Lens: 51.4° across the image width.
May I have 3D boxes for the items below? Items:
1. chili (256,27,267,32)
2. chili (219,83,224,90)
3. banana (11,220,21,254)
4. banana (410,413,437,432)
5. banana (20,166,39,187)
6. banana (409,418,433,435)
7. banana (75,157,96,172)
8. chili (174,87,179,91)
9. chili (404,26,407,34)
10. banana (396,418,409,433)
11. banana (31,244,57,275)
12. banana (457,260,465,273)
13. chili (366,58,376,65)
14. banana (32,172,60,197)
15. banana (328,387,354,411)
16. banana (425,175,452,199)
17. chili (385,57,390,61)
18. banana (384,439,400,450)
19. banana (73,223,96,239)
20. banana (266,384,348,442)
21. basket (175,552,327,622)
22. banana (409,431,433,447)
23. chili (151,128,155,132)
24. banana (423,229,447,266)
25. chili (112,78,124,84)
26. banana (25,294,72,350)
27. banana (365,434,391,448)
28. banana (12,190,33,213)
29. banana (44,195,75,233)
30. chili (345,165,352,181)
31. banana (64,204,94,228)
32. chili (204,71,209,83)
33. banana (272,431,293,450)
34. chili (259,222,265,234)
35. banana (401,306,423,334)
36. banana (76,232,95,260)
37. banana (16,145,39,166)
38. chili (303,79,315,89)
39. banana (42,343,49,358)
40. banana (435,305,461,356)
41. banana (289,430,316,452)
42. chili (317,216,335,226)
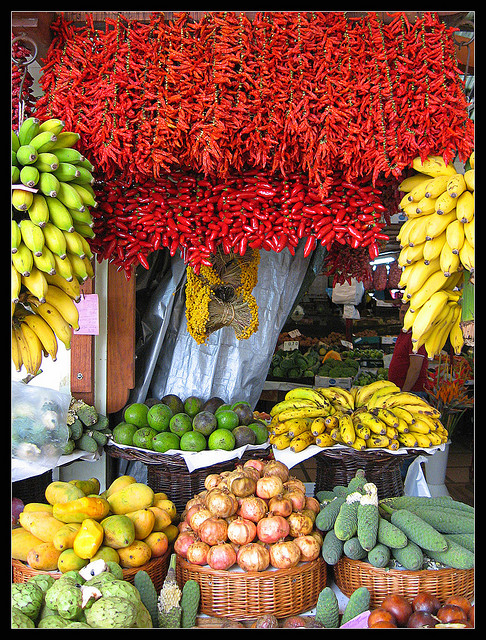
[{"bbox_3d":[0.054,-0.864,1.505,0.021,0.007,0.006,-33,-23,-16],"label":"chili"},{"bbox_3d":[-0.066,-0.680,1.474,0.011,0.014,0.010,4,3,-4],"label":"chili"},{"bbox_3d":[-0.591,-0.217,1.314,0.020,0.084,0.069,3,3,-23],"label":"banana"},{"bbox_3d":[0.777,0.439,2.169,0.046,0.040,0.144,22,1,0],"label":"banana"},{"bbox_3d":[-0.544,-0.368,1.293,0.040,0.036,0.058,23,28,-31],"label":"banana"},{"bbox_3d":[0.751,0.456,2.143,0.097,0.053,0.040,6,3,20],"label":"banana"},{"bbox_3d":[-0.467,-0.464,1.514,0.016,0.021,0.057,-29,51,-19],"label":"banana"},{"bbox_3d":[-0.199,-0.680,1.487,0.009,0.008,0.006,4,3,-1],"label":"chili"},{"bbox_3d":[0.490,-0.879,1.533,0.005,0.025,0.006,-9,-15,12],"label":"chili"},{"bbox_3d":[0.645,0.436,2.054,0.025,0.025,0.078,-11,2,-1],"label":"banana"},{"bbox_3d":[-0.538,-0.158,1.369,0.035,0.108,0.038,-32,-18,-18],"label":"banana"},{"bbox_3d":[0.700,-0.169,1.632,0.022,0.031,0.011,-5,19,-13],"label":"banana"},{"bbox_3d":[0.376,-0.768,1.506,0.015,0.015,0.032,2,4,-38],"label":"chili"},{"bbox_3d":[-0.519,-0.359,1.328,0.042,0.052,0.084,2,11,-29],"label":"banana"},{"bbox_3d":[0.497,0.389,2.539,0.053,0.071,0.198,-2,12,-13],"label":"banana"},{"bbox_3d":[0.578,-0.397,1.512,0.043,0.036,0.119,40,53,15],"label":"banana"},{"bbox_3d":[0.425,-0.774,1.497,0.012,0.013,0.006,-3,0,8],"label":"chili"},{"bbox_3d":[0.576,0.487,1.968,0.051,0.029,0.026,-14,29,37],"label":"banana"},{"bbox_3d":[-0.483,-0.268,1.536,0.067,0.020,0.023,34,-4,-37],"label":"banana"},{"bbox_3d":[0.287,0.447,2.376,0.278,0.091,0.235,-26,19,22],"label":"banana"},{"bbox_3d":[0.048,0.764,1.478,0.396,0.133,0.429,7,-19,-28],"label":"basket"},{"bbox_3d":[0.749,0.497,2.132,0.044,0.040,0.130,-9,-2,2],"label":"banana"},{"bbox_3d":[-0.268,-0.564,1.499,0.012,0.012,0.005,-11,3,-9],"label":"chili"},{"bbox_3d":[0.584,-0.222,1.545,0.039,0.137,0.049,13,-29,34],"label":"banana"},{"bbox_3d":[-0.374,-0.705,1.489,0.019,0.006,0.019,9,41,10],"label":"chili"},{"bbox_3d":[-0.598,0.002,1.536,0.041,0.158,0.056,-34,7,38],"label":"banana"},{"bbox_3d":[0.528,0.480,1.991,0.098,0.040,0.049,6,3,16],"label":"banana"},{"bbox_3d":[-0.573,-0.306,1.306,0.037,0.055,0.034,4,5,-5],"label":"banana"},{"bbox_3d":[-0.500,-0.287,1.412,0.136,0.045,0.043,48,-9,19],"label":"banana"},{"bbox_3d":[0.336,-0.472,1.619,0.016,0.031,0.058,5,3,5],"label":"chili"},{"bbox_3d":[-0.472,-0.295,1.451,0.075,0.025,0.026,34,-10,-14],"label":"banana"},{"bbox_3d":[-0.110,-0.713,1.484,0.011,0.032,0.013,4,3,0],"label":"chili"},{"bbox_3d":[0.160,0.498,2.081,0.038,0.041,0.088,20,35,35],"label":"banana"},{"bbox_3d":[0.061,-0.310,1.705,0.015,0.017,0.032,1,38,-3],"label":"chili"},{"bbox_3d":[0.553,-0.006,1.682,0.035,0.104,0.031,26,0,-23],"label":"banana"},{"bbox_3d":[-0.470,-0.218,1.491,0.016,0.059,0.020,-30,0,-17],"label":"banana"},{"bbox_3d":[-0.558,-0.424,1.304,0.042,0.038,0.058,17,-3,-20],"label":"banana"},{"bbox_3d":[0.190,-0.704,1.509,0.047,0.014,0.012,44,52,12],"label":"chili"},{"bbox_3d":[-0.631,0.095,1.606,0.013,0.058,0.015,15,42,11],"label":"banana"},{"bbox_3d":[0.724,0.025,1.777,0.040,0.206,0.035,14,-21,34],"label":"banana"},{"bbox_3d":[0.239,0.489,2.040,0.049,0.047,0.157,24,15,27],"label":"banana"},{"bbox_3d":[0.272,-0.330,1.685,0.063,0.021,0.021,-25,-27,-10],"label":"chili"}]
